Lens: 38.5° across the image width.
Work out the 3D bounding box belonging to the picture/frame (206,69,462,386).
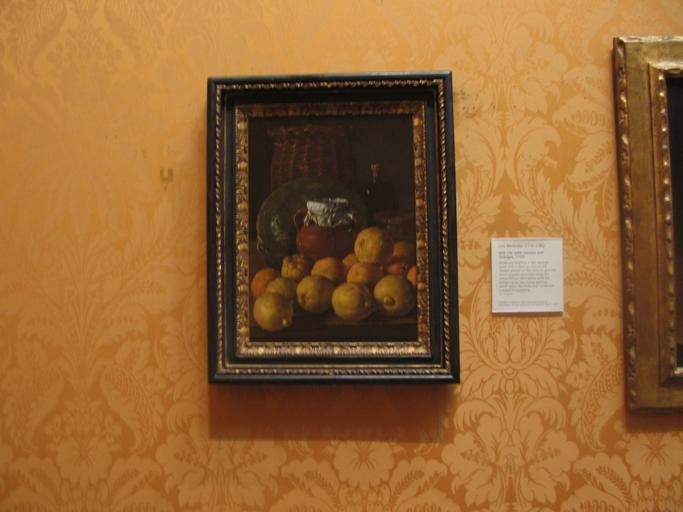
[{"bbox_3d":[-0.012,-0.040,2.477,0.603,0.060,0.939,-1,87,3],"label":"picture/frame"}]
